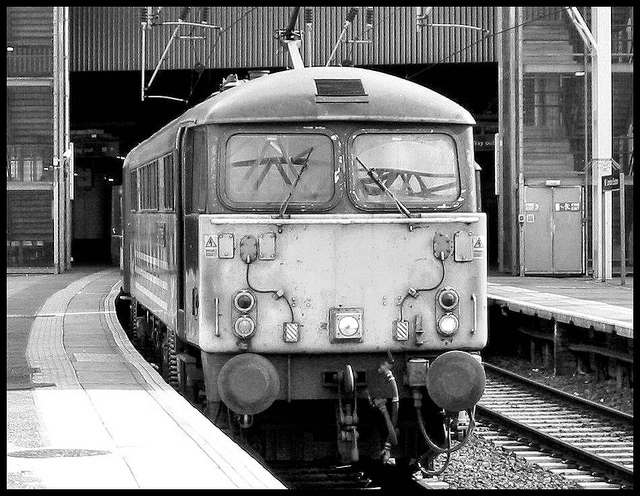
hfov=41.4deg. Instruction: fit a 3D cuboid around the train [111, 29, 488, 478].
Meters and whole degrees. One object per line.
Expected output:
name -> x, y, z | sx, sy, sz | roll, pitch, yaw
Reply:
train -> -1.414, -0.351, 13.920 | 2.824, 5.865, 11.018 | 1, 2, -19
